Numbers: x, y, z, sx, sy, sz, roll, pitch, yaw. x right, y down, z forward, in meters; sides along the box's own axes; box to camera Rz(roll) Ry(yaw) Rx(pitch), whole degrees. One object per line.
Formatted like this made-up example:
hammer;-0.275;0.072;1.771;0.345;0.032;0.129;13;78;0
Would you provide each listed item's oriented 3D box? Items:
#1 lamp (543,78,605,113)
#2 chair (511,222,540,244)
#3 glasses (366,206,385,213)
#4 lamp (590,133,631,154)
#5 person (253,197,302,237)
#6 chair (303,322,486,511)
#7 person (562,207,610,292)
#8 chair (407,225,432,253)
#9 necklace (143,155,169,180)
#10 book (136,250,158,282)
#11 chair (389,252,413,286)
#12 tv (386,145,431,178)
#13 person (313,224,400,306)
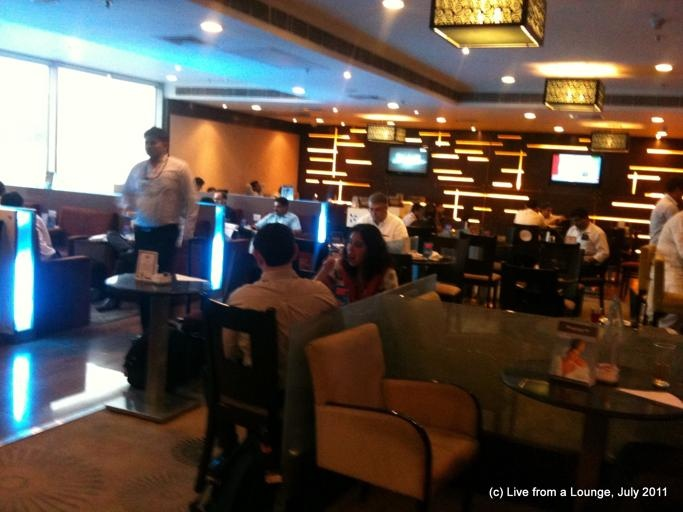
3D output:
lamp;2.695;-1.873;6.435;0.687;0.387;0.340;8;-5;13
chair;2.615;-0.332;7.891;0.289;0.297;0.297;2;4;1
glasses;0.372;-0.507;6.016;0.225;0.073;0.241;3;5;27
lamp;4.499;-1.901;9.468;0.659;0.359;0.323;1;-9;3
person;-0.970;-0.557;8.414;0.779;0.623;0.507;4;11;18
chair;0.312;0.819;3.280;0.955;1.246;0.856;1;4;36
person;3.444;-0.166;8.017;0.699;1.045;0.776;-12;14;-41
chair;1.011;-0.247;7.230;0.319;0.395;0.360;4;9;22
necklace;-1.674;-0.793;5.021;0.163;0.235;0.047;1;-24;32
book;-1.451;0.077;4.135;0.203;0.290;0.031;2;-11;2
chair;0.531;0.117;5.245;0.285;0.423;0.292;0;2;-4
tv;1.739;-2.361;14.145;1.224;0.857;0.671;3;9;22
person;0.063;0.104;4.002;0.664;0.755;0.379;-2;20;-20
